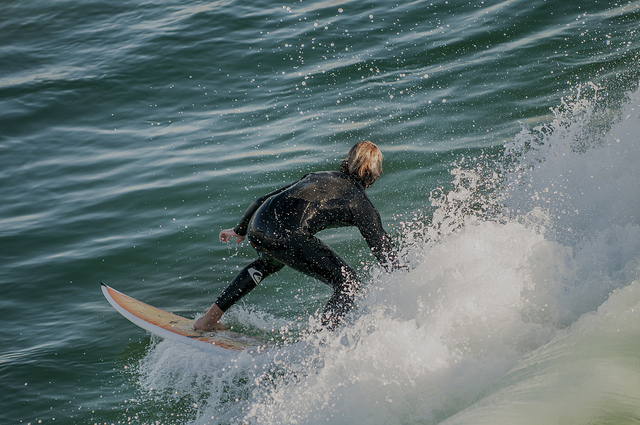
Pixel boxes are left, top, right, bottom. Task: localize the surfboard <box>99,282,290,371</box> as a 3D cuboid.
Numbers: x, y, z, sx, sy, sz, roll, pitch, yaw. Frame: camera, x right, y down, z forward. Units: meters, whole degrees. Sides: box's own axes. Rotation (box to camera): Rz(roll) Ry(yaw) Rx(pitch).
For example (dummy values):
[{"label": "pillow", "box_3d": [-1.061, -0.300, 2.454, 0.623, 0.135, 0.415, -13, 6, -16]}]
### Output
[{"label": "surfboard", "box_3d": [-1.894, 1.846, 16.759, 2.824, 0.447, 0.306, 19, 45, -7]}]
